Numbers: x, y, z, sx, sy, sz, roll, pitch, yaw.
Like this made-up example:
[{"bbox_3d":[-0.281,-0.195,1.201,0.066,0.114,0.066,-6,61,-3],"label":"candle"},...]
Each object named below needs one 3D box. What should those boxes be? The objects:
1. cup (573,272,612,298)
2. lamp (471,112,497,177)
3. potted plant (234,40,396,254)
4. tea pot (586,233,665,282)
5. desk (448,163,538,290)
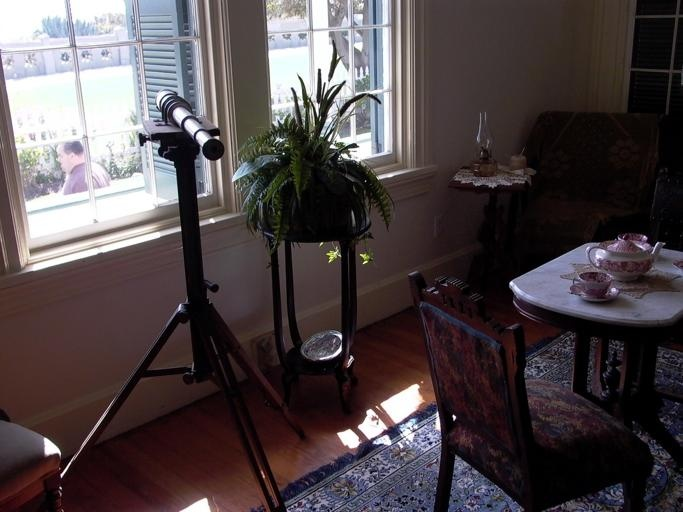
[{"bbox_3d":[0.969,0.107,1.986,0.091,0.076,0.112,-13,20,-31],"label":"cup"},{"bbox_3d":[1.027,-0.810,3.636,0.156,0.363,0.503,3,24,16],"label":"lamp"},{"bbox_3d":[-0.148,-0.461,2.613,0.874,1.149,0.912,-2,12,-6],"label":"potted plant"},{"bbox_3d":[1.212,-0.005,2.159,0.253,0.174,0.219,-4,15,6],"label":"tea pot"},{"bbox_3d":[1.066,-0.224,3.630,0.571,0.933,0.618,-7,20,-15],"label":"desk"}]
